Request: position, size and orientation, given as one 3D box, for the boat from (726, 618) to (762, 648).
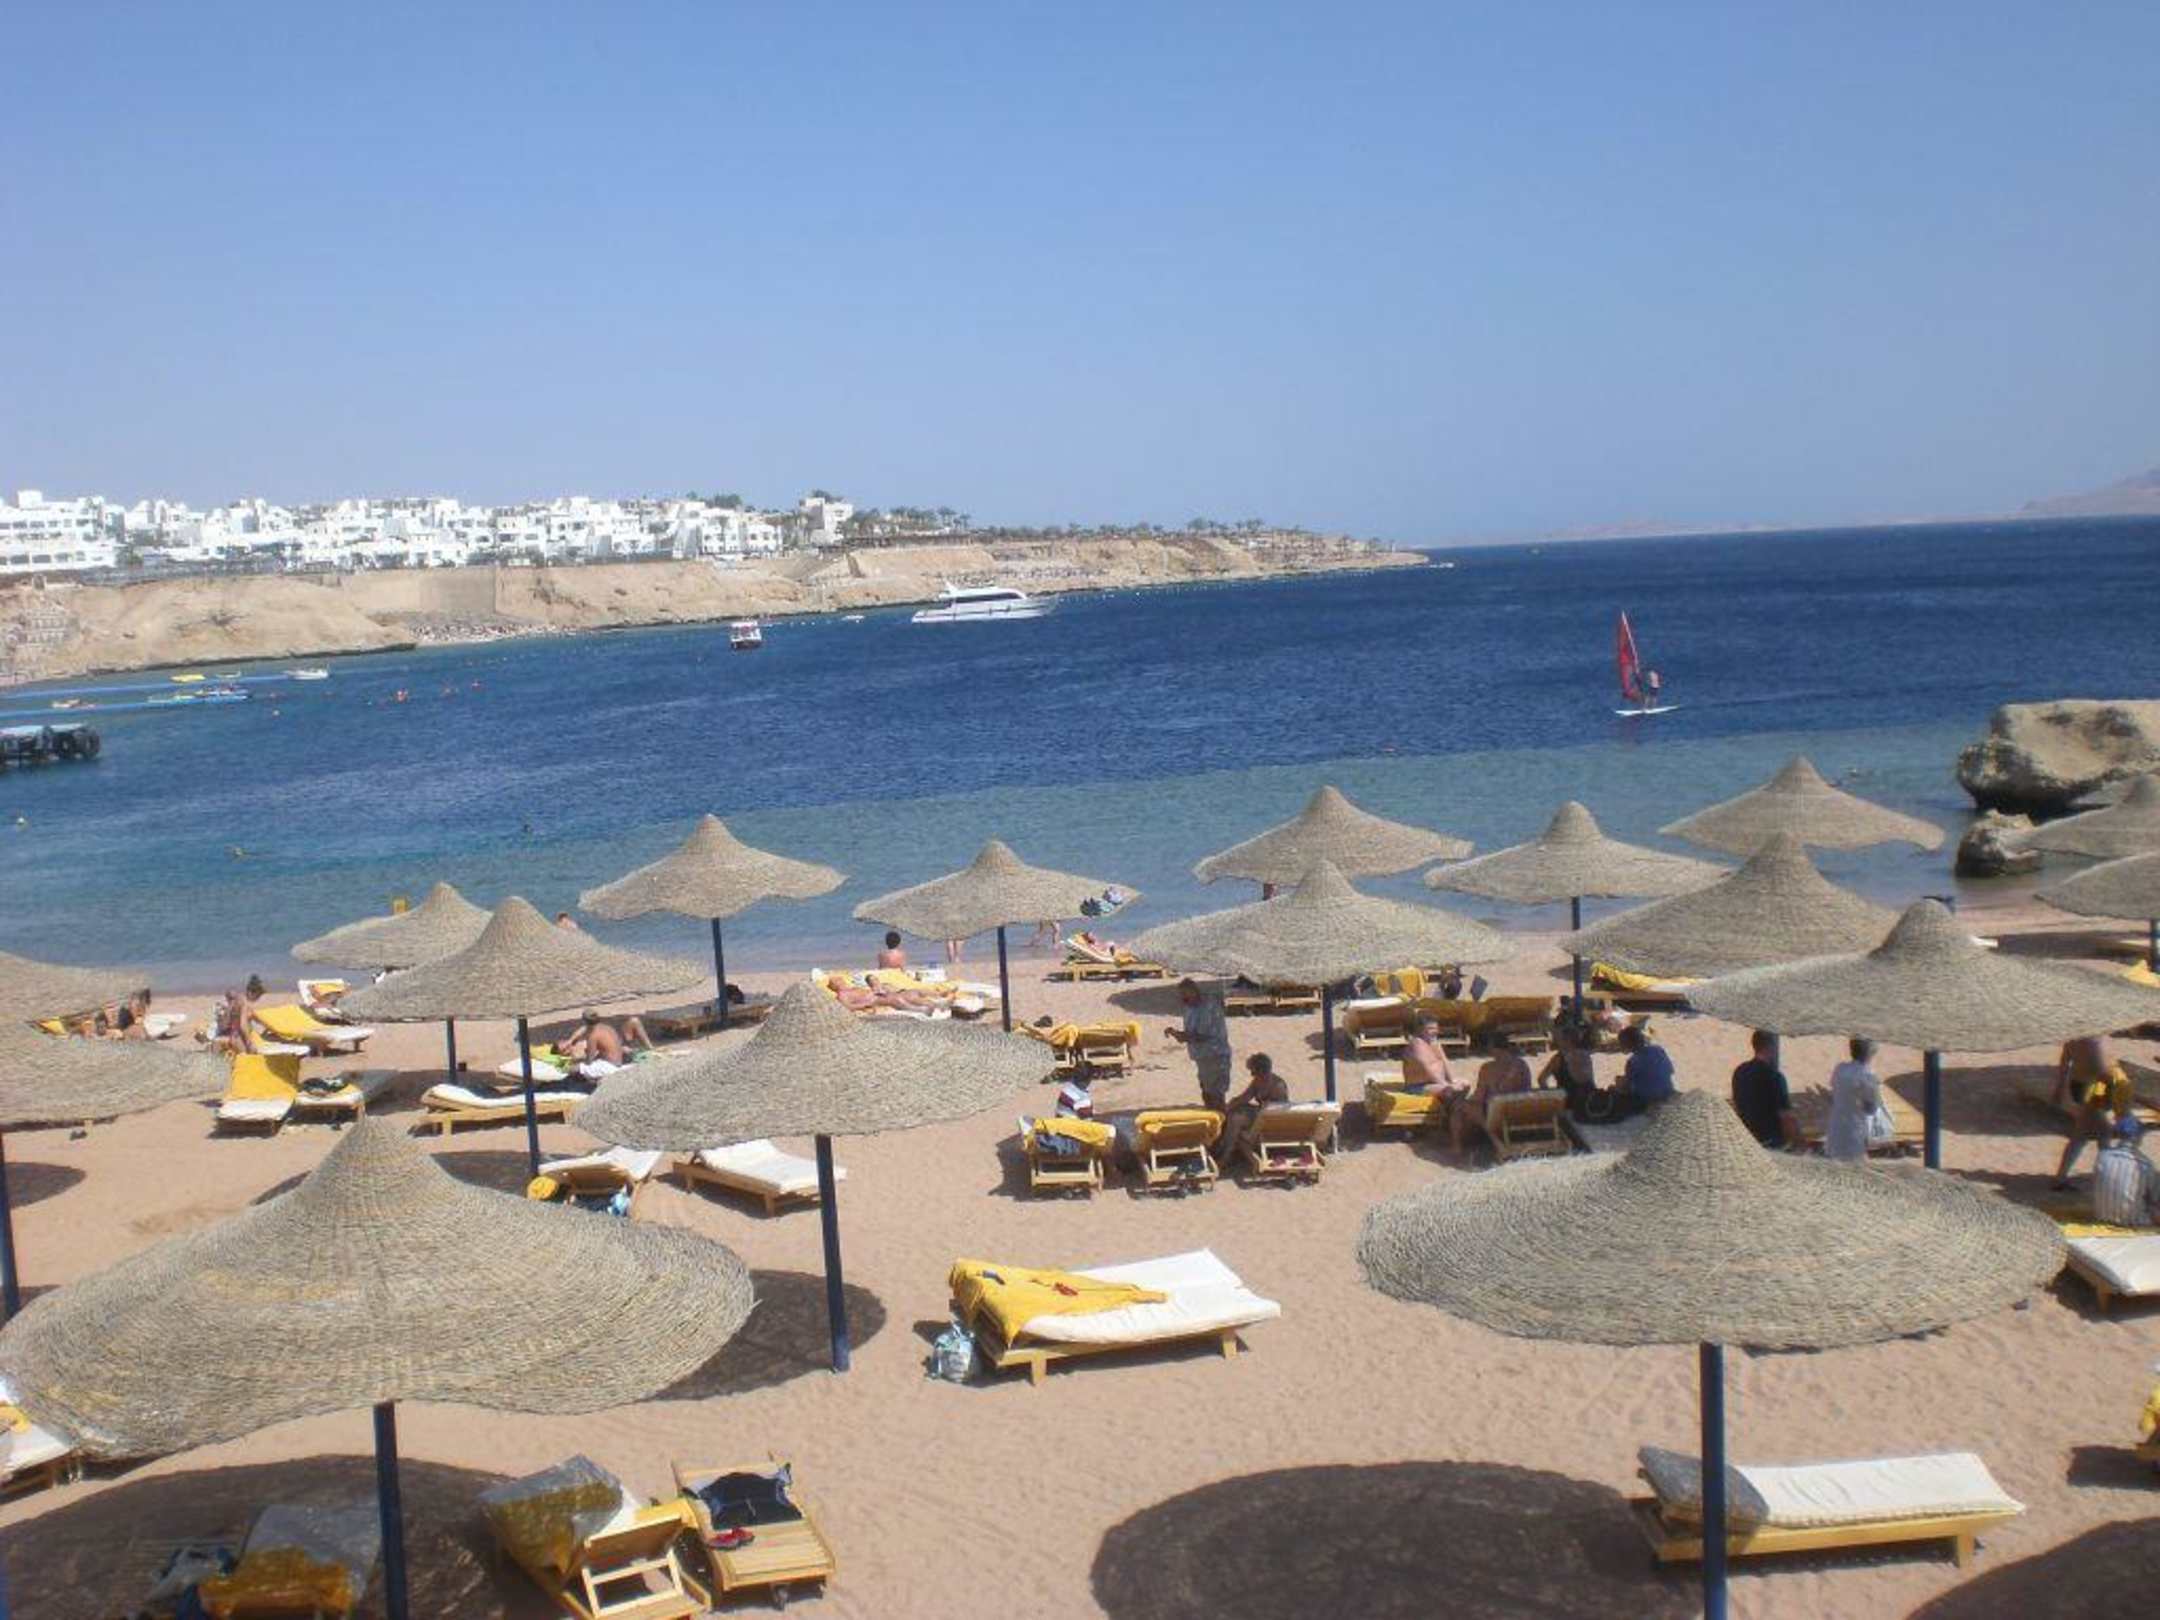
[{"bbox_3d":[-22.759,-12.294,137.055,3.762,2.081,5.636,-2,5,-15],"label":"boat"}]
